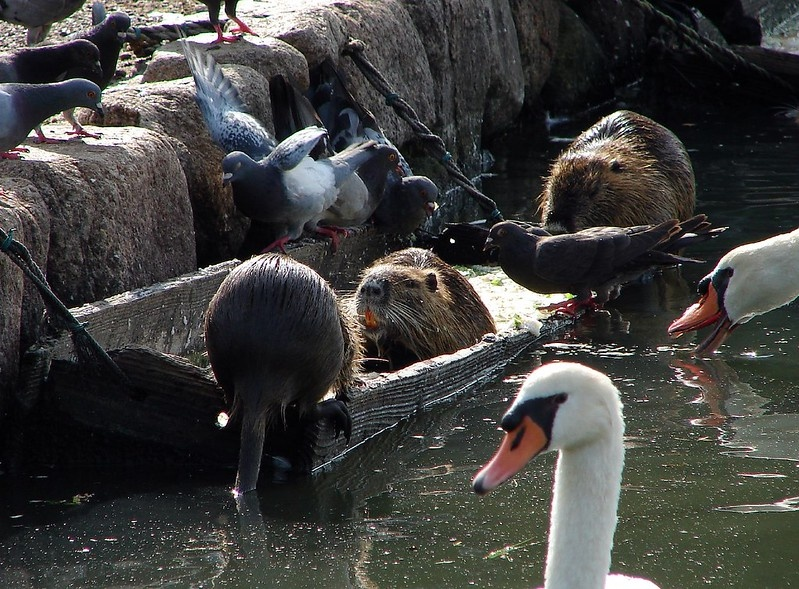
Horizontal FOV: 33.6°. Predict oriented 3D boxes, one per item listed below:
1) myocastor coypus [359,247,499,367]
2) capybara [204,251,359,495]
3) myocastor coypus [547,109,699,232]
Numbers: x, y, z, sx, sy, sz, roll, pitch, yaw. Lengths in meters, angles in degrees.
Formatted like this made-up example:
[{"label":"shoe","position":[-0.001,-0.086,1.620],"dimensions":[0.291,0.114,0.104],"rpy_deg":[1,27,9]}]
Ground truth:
[{"label":"myocastor coypus","position":[0.219,0.075,9.316],"dimensions":[0.625,0.621,1.035],"rpy_deg":[-25,-2,27]},{"label":"capybara","position":[-0.680,0.385,7.640],"dimensions":[0.809,0.875,1.435],"rpy_deg":[2,48,12]},{"label":"myocastor coypus","position":[1.876,-0.989,11.135],"dimensions":[1.255,1.047,1.209],"rpy_deg":[5,17,20]}]
